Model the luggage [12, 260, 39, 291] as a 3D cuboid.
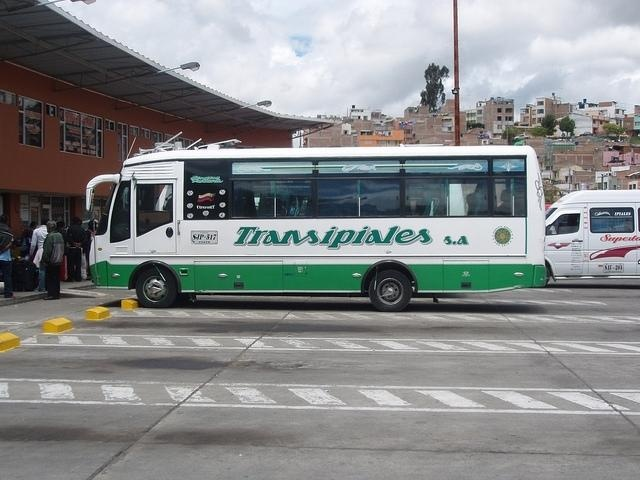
[{"bbox_3d":[-8.589,1.001,20.629,0.600,0.705,0.756,-2,2,1],"label":"luggage"}]
